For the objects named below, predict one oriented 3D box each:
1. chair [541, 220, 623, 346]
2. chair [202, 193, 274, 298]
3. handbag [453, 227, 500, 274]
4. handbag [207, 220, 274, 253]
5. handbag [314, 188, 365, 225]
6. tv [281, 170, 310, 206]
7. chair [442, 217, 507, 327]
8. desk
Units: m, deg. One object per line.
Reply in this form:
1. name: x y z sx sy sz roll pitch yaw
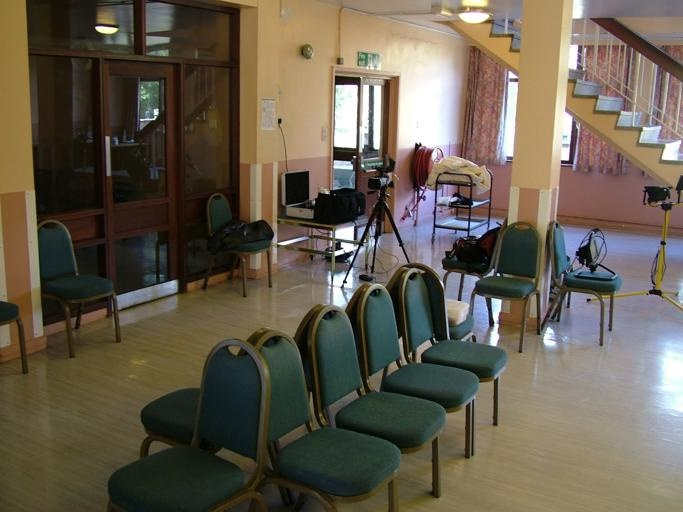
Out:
1. chair: 2.413 0.212 5.799 0.714 1.143 0.705 3 12 26
2. chair: -1.230 -0.133 6.680 0.810 1.279 0.904 7 13 26
3. handbag: 1.394 -0.099 5.924 0.468 0.507 0.373 14 12 22
4. handbag: -1.120 -0.247 6.536 0.401 0.176 0.513 4 11 30
5. handbag: -0.038 -0.602 6.936 0.446 0.358 0.509 8 14 37
6. tv: -0.615 -0.884 7.405 0.058 0.348 0.431 7 14 31
7. chair: 1.413 0.144 6.164 0.738 1.113 0.694 9 10 44
8. desk: -0.286 -0.201 7.418 0.896 0.694 0.913 9 17 33
